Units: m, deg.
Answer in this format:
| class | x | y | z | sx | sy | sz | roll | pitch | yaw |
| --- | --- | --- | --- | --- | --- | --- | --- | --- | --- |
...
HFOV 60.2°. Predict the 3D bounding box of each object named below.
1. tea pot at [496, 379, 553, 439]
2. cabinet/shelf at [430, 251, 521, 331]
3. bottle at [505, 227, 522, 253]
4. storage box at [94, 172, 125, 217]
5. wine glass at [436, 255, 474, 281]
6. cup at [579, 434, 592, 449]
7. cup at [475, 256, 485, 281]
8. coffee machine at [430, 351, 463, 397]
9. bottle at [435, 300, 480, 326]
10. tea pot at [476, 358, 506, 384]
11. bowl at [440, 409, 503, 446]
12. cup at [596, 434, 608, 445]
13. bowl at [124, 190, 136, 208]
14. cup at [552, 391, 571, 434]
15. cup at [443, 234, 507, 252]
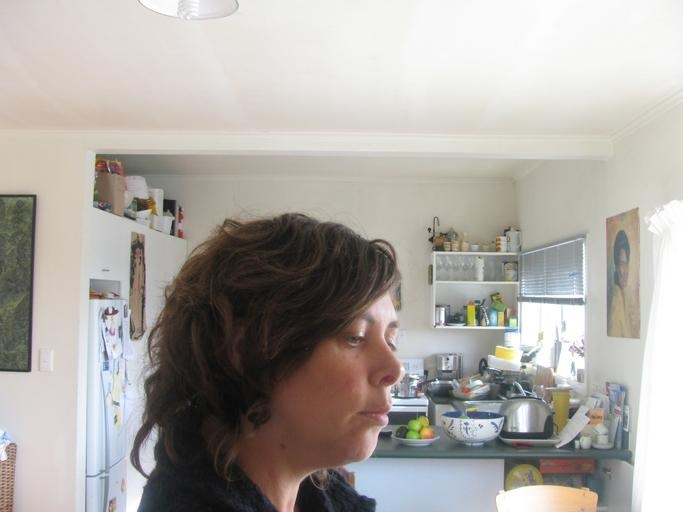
| class | x | y | z | sx | sy | sz | roll | pitch | yaw |
| --- | --- | --- | --- | --- | --- | --- | --- | --- | --- |
| tea pot | 1.202 | 1.034 | 3.923 | 0.391 | 0.417 | 0.265 | -1 | -6 | -3 |
| cabinet/shelf | 1.312 | 0.336 | 5.759 | 0.698 | 0.636 | 0.242 | 0 | -7 | -1 |
| bottle | 1.670 | -0.155 | 5.759 | 0.147 | 0.237 | 0.124 | 2 | 9 | 13 |
| storage box | -1.671 | -0.451 | 4.280 | 0.214 | 0.317 | 0.098 | -8 | 11 | -42 |
| wine glass | 1.098 | 0.114 | 5.757 | 0.395 | 0.247 | 0.103 | 2 | 9 | 10 |
| cup | 1.546 | 1.188 | 3.764 | 0.071 | 0.075 | 0.074 | 4 | -6 | 0 |
| cup | 1.342 | 0.119 | 5.742 | 0.089 | 0.235 | 0.208 | 2 | 9 | 14 |
| coffee machine | 1.027 | 1.077 | 5.698 | 0.235 | 0.426 | 0.288 | 0 | -10 | 2 |
| bottle | 1.109 | 0.600 | 5.777 | 0.283 | 0.192 | 0.298 | 0 | -10 | 0 |
| tea pot | 1.389 | 1.071 | 5.519 | 0.169 | 0.241 | 0.626 | 1 | 9 | 5 |
| bowl | 0.840 | 1.143 | 3.839 | 0.398 | 0.185 | 0.419 | -1 | -7 | 0 |
| cup | 1.661 | 1.179 | 3.768 | 0.056 | 0.043 | 0.057 | 1 | -3 | 0 |
| bowl | -1.628 | -0.444 | 4.597 | 0.098 | 0.116 | 0.090 | 2 | 0 | 0 |
| cup | 1.473 | 1.035 | 3.973 | 0.105 | 0.261 | 0.198 | 3 | 9 | 19 |
| cup | 1.298 | -0.098 | 5.808 | 0.411 | 0.157 | 0.258 | 0 | -5 | 2 |
